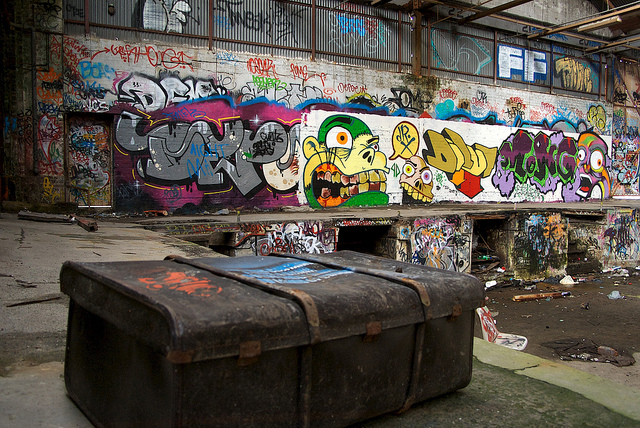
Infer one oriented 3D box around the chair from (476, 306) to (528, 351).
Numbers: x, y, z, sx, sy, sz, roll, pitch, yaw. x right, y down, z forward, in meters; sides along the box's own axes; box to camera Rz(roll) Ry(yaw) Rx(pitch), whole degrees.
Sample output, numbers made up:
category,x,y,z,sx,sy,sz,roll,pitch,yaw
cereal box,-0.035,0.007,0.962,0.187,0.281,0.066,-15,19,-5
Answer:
category,x,y,z,sx,sy,sz,roll,pitch,yaw
chair,3.013,1.867,9.647,0.760,0.641,0.562,-3,10,35
